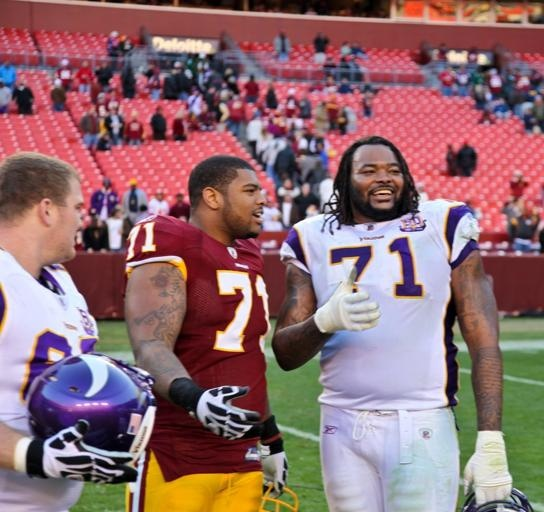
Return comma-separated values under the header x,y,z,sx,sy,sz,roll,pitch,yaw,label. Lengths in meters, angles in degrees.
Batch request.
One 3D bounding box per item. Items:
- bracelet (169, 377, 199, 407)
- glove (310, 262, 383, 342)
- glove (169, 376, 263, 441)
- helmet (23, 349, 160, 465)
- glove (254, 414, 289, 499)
x,y,z,sx,sy,sz,roll,pitch,yaw,label
-0.327,0.496,3.528,0.112,0.086,0.048,24,25,24,bracelet
0.270,0.176,3.714,0.309,0.269,0.113,2,8,45,glove
-0.219,0.536,3.507,0.280,0.199,0.131,30,51,7,glove
-0.616,0.487,3.460,0.440,0.343,0.321,-26,25,-13,helmet
-0.014,0.869,4.230,0.260,0.327,0.133,5,1,-6,glove
